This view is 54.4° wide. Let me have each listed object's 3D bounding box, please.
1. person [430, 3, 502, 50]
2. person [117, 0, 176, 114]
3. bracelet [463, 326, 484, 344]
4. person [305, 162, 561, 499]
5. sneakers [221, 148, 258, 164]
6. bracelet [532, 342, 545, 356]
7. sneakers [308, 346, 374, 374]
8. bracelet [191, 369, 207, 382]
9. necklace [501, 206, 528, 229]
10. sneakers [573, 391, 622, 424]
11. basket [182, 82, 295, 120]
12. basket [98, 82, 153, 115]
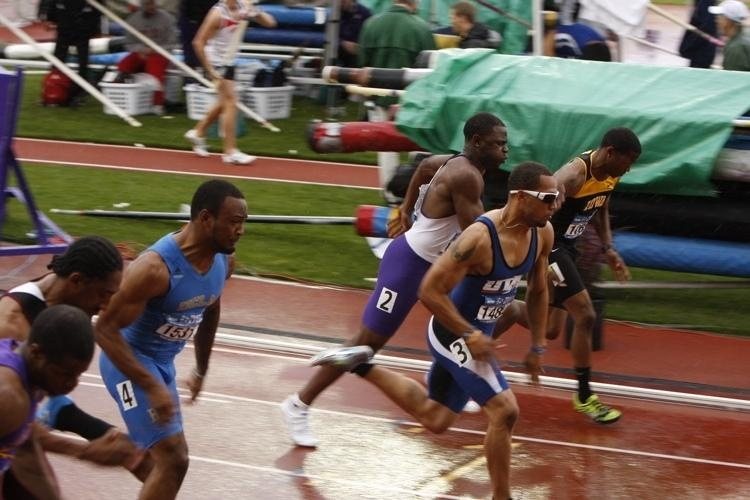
[{"bbox_3d":[1.384,-3.246,10.450,0.787,0.676,0.690,12,14,15],"label":"person"},{"bbox_3d":[-4.613,-3.899,14.719,1.042,2.226,0.797,5,16,-18],"label":"person"},{"bbox_3d":[0.600,0.531,4.526,0.103,0.093,0.059,11,14,10],"label":"bracelet"},{"bbox_3d":[0.532,0.502,4.773,1.165,2.222,0.865,12,15,10],"label":"person"},{"bbox_3d":[-2.237,-1.545,11.982,0.490,0.165,0.232,0,17,0],"label":"sneakers"},{"bbox_3d":[1.109,0.668,4.945,0.085,0.052,0.083,-4,8,-41],"label":"bracelet"},{"bbox_3d":[-0.202,0.756,5.200,0.519,0.160,0.192,-4,34,1],"label":"sneakers"},{"bbox_3d":[-1.117,0.796,4.637,0.098,0.077,0.078,2,-2,-17],"label":"bracelet"},{"bbox_3d":[0.869,-0.186,4.563,0.129,0.098,0.069,-7,30,-18],"label":"necklace"},{"bbox_3d":[1.788,1.291,5.870,0.434,0.167,0.171,14,33,24],"label":"sneakers"},{"bbox_3d":[-2.709,-3.026,14.668,1.548,0.407,1.078,0,7,-5],"label":"basket"},{"bbox_3d":[-4.993,-3.076,14.762,0.897,0.441,0.710,-3,9,-16],"label":"basket"}]
